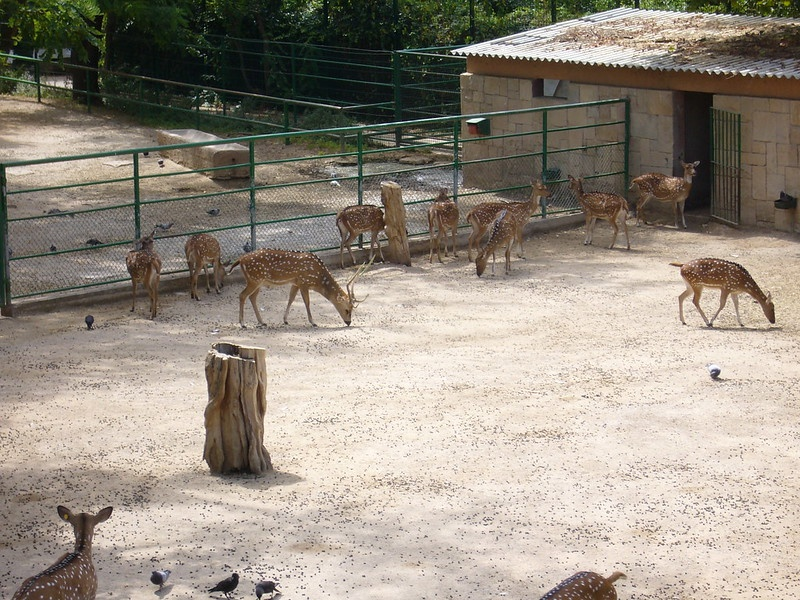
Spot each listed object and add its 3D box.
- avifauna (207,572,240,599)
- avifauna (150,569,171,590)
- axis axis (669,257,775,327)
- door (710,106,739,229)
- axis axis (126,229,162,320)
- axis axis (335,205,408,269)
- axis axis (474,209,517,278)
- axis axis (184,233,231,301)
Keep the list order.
[{"bbox_3d":[-1.884,3.055,14.496,0.328,0.253,0.207,-4,11,-13],"label":"avifauna"},{"bbox_3d":[-2.562,2.980,14.484,0.101,0.192,0.312,9,0,-6],"label":"avifauna"},{"bbox_3d":[5.031,-0.099,21.015,1.424,1.037,0.595,0,11,10],"label":"axis axis"},{"bbox_3d":[6.387,-2.571,26.624,0.179,2.248,0.795,-9,13,-35],"label":"door"},{"bbox_3d":[-4.132,-0.367,21.807,0.505,1.217,1.210,-4,11,-12],"label":"axis axis"},{"bbox_3d":[-0.582,-1.205,24.226,1.444,1.134,0.464,-3,6,-40],"label":"axis axis"},{"bbox_3d":[1.722,-0.991,23.952,0.677,1.078,1.255,0,11,10],"label":"axis axis"},{"bbox_3d":[-3.187,-0.585,22.572,0.373,1.095,1.540,-3,-2,17],"label":"axis axis"}]
